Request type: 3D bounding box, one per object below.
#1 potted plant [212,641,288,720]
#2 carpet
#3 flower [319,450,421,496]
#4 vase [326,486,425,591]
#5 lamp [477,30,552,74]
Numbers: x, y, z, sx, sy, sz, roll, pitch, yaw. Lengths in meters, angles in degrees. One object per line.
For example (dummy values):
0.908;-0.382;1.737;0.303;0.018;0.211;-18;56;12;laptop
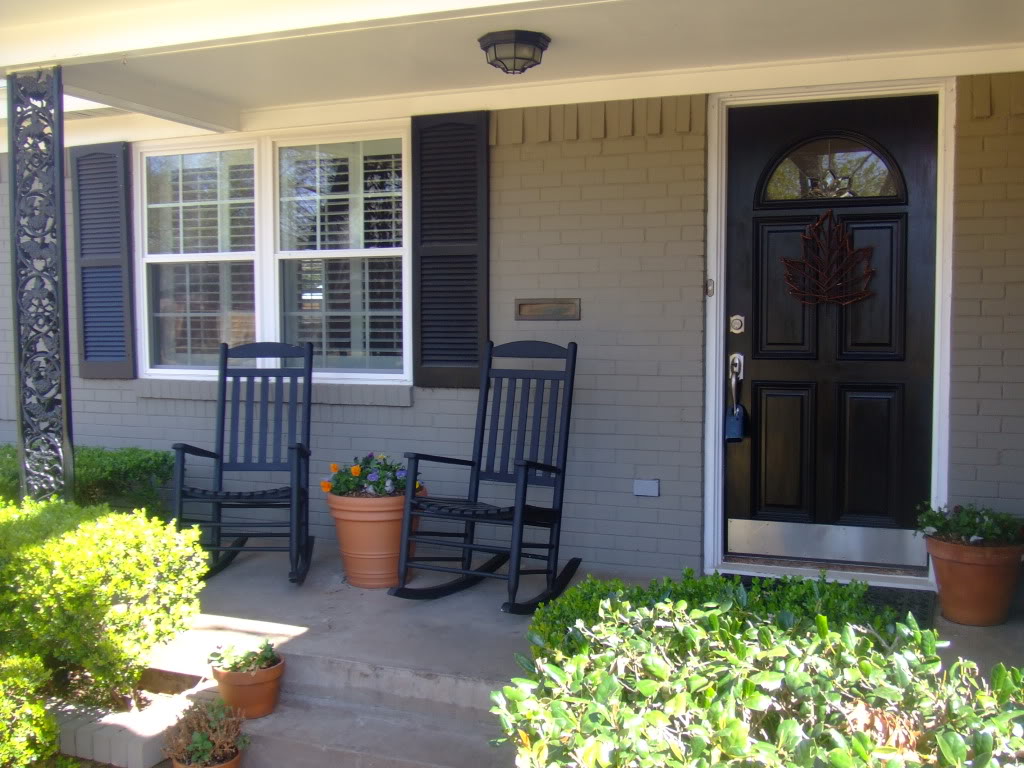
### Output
-1.172;1.299;3.745;0.312;0.233;0.312;-1;-6;-1;potted plant
1.789;1.238;4.661;1.091;0.264;0.110;2;-40;10;carpet
-0.910;0.567;5.056;0.404;0.158;0.399;2;-4;-43;flower
-0.778;0.895;4.915;0.527;0.508;0.527;0;-5;3;vase
0.017;-1.745;4.408;0.239;0.093;0.217;-1;-8;4;lamp
